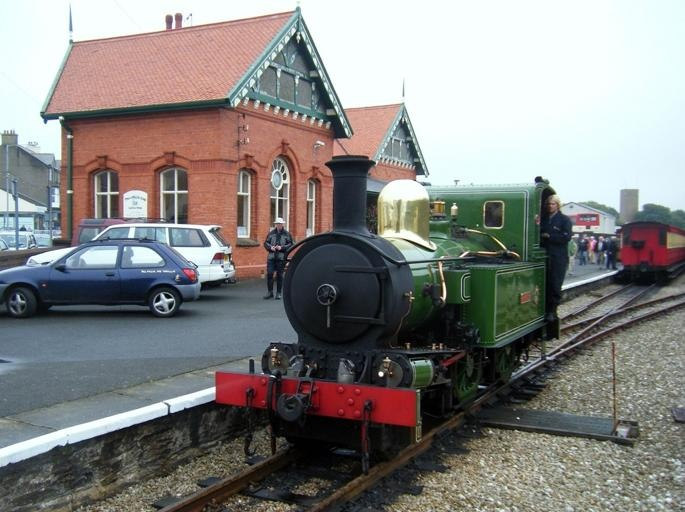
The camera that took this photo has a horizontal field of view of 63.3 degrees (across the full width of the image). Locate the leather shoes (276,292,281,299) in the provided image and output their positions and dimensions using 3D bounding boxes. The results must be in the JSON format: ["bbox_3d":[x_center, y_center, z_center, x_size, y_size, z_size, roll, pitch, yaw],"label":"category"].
[{"bbox_3d":[-1.819,1.156,15.897,0.117,0.134,0.328,1,-3,-3],"label":"leather shoes"}]

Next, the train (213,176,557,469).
[{"bbox_3d":[1.114,0.487,7.549,2.628,2.969,5.820,0,3,30],"label":"train"}]

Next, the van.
[{"bbox_3d":[-5.412,-0.006,15.326,4.468,1.484,2.027,2,2,0],"label":"van"}]
